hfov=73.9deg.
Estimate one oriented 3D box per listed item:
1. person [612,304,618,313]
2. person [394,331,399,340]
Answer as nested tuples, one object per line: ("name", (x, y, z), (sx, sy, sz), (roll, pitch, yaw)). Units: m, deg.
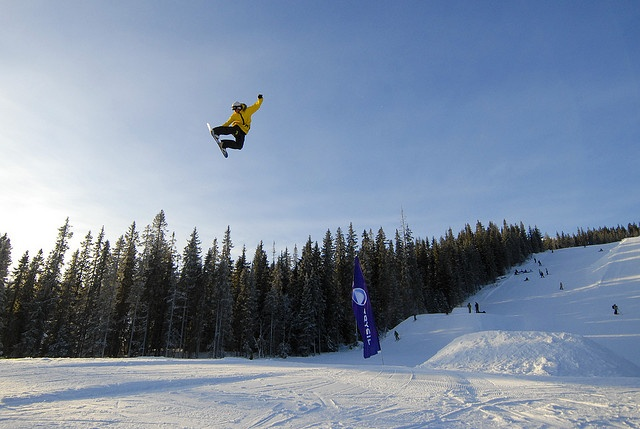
("person", (32.965, 10.550, 47.767), (0.591, 1.173, 1.986), (-15, -22, 31))
("person", (9.342, 14.795, 52.123), (0.560, 1.081, 1.750), (-6, -19, 8))
